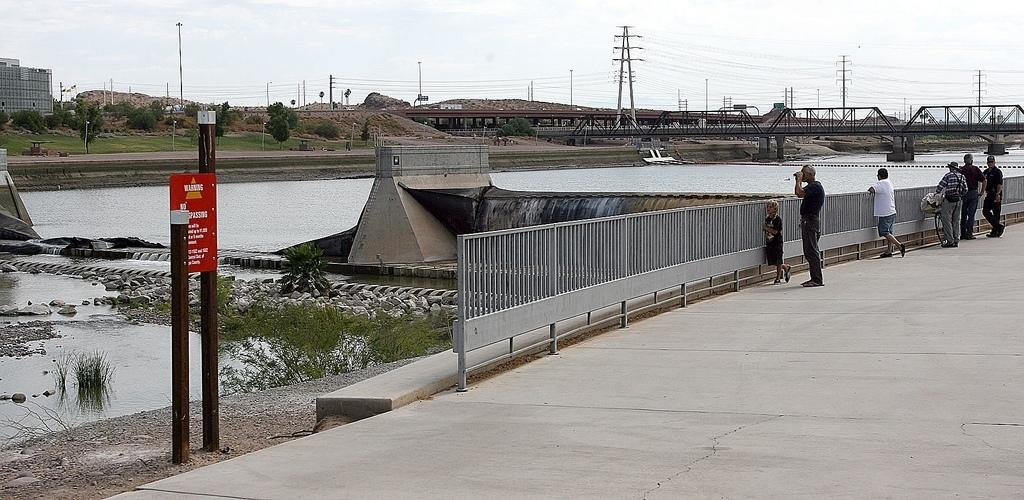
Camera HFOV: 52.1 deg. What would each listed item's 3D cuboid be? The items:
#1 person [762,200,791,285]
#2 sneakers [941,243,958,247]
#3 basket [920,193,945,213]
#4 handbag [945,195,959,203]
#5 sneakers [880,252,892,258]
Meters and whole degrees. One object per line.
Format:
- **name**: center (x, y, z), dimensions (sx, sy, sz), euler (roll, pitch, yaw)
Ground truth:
- **person**: center (7.755, -0.268, 30.942), dimensions (0.672, 2.472, 1.106), euler (3, 6, 27)
- **sneakers**: center (15.092, -0.198, 36.148), dimensions (0.584, 0.177, 0.168), euler (3, 4, 8)
- **basket**: center (14.562, -1.649, 36.284), dimensions (0.838, 0.358, 0.696), euler (15, 27, 10)
- **handbag**: center (14.955, -1.795, 35.684), dimensions (0.486, 0.274, 0.205), euler (1, 5, 14)
- **sneakers**: center (12.355, 0.142, 34.691), dimensions (0.482, 0.135, 0.163), euler (2, 3, 5)
